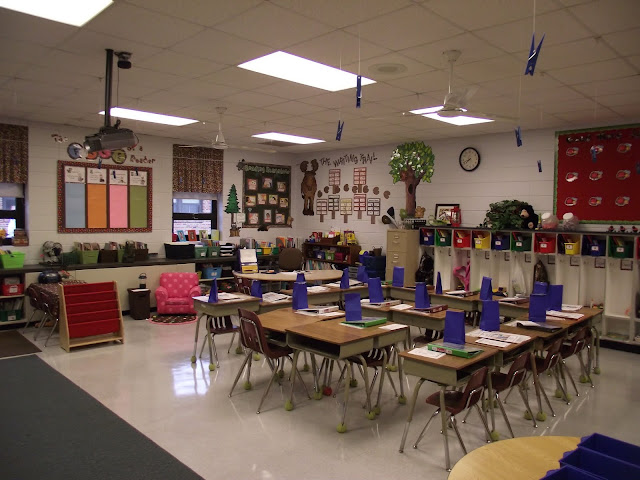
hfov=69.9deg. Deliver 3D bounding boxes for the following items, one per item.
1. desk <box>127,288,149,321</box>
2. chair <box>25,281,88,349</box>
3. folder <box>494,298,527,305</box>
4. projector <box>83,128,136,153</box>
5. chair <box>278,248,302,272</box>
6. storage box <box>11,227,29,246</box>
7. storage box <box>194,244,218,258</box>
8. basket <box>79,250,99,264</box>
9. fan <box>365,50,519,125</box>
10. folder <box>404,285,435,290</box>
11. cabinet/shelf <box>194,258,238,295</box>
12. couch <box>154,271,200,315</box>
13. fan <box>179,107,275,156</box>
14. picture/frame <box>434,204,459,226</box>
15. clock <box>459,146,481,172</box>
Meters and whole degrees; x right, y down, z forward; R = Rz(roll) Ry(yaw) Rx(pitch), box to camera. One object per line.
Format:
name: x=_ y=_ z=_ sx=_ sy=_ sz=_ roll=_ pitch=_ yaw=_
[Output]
desk: x=-3.710 y=1.315 z=9.554 sx=0.450 sy=0.542 sz=0.408 roll=0 pitch=3 yaw=40
chair: x=-4.582 y=1.360 z=8.472 sx=1.228 sy=1.379 sz=1.051 roll=2 pitch=-2 yaw=-40
folder: x=2.968 y=0.929 z=6.934 sx=0.209 sy=0.050 sz=0.208 roll=-1 pitch=3 yaw=-38
projector: x=-2.863 y=-1.322 z=6.218 sx=0.591 sy=0.271 sz=0.337 roll=-7 pitch=10 yaw=-31
chair: x=-0.729 y=0.462 z=10.819 sx=0.512 sy=0.584 sz=0.539 roll=0 pitch=-3 yaw=-8
storage box: x=-5.942 y=-0.034 z=9.066 sx=0.388 sy=0.376 sz=0.273 roll=-1 pitch=-4 yaw=32
storage box: x=-2.672 y=0.275 z=10.797 sx=0.598 sy=0.271 sz=0.150 roll=-6 pitch=11 yaw=-38
basket: x=-4.727 y=0.358 z=9.342 sx=0.244 sy=0.217 sz=0.297 roll=-2 pitch=-4 yaw=28
fan: x=1.693 y=-1.896 z=6.072 sx=1.360 sy=0.947 sz=1.348 roll=6 pitch=1 yaw=-32
folder: x=1.560 y=0.750 z=7.138 sx=0.192 sy=0.046 sz=0.206 roll=1 pitch=-1 yaw=-36
cabinet/shelf: x=-2.371 y=0.820 z=10.218 sx=0.261 sy=0.755 sz=0.816 roll=1 pitch=1 yaw=43
couch: x=-3.077 y=1.158 z=10.104 sx=1.097 sy=1.050 sz=1.052 roll=1 pitch=-4 yaw=-17
fan: x=-2.066 y=-2.113 z=9.306 sx=1.275 sy=0.497 sz=1.286 roll=2 pitch=-1 yaw=28
picture/frame: x=2.862 y=-0.545 z=10.241 sx=0.042 sy=0.480 sz=0.553 roll=26 pitch=-18 yaw=-40
clock: x=3.290 y=-1.763 z=10.009 sx=0.086 sy=0.557 sz=0.506 roll=-8 pitch=12 yaw=-44
